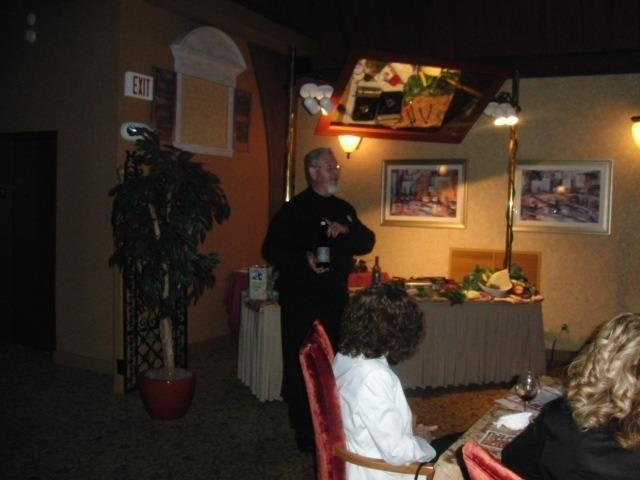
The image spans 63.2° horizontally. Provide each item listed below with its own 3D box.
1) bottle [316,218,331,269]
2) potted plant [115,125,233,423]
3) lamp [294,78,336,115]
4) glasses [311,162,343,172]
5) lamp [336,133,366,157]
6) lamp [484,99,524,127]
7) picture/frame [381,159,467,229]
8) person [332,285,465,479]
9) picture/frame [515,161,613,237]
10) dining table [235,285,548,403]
[{"bbox_3d":[0.028,0.030,3.999,0.113,0.351,0.234,1,8,-1],"label":"bottle"},{"bbox_3d":[-1.386,0.250,4.596,0.880,2.415,1.072,-3,9,-29],"label":"potted plant"},{"bbox_3d":[-0.030,-1.702,6.164,0.382,0.440,0.821,2,9,0],"label":"lamp"},{"bbox_3d":[0.040,-0.570,4.062,0.184,0.061,0.188,1,-5,-37],"label":"glasses"},{"bbox_3d":[0.409,-1.269,6.984,0.277,0.310,0.275,6,10,20],"label":"lamp"},{"bbox_3d":[2.036,-1.408,5.711,0.421,0.117,0.404,-6,-5,9],"label":"lamp"},{"bbox_3d":[1.411,-0.612,6.799,0.842,0.736,0.041,3,5,21],"label":"picture/frame"},{"bbox_3d":[0.315,0.644,2.514,0.501,0.816,0.344,2,8,0],"label":"person"},{"bbox_3d":[2.926,-0.490,6.125,0.812,0.737,0.065,3,3,21],"label":"picture/frame"},{"bbox_3d":[0.980,1.008,5.045,2.164,0.651,1.284,0,2,-5],"label":"dining table"}]
